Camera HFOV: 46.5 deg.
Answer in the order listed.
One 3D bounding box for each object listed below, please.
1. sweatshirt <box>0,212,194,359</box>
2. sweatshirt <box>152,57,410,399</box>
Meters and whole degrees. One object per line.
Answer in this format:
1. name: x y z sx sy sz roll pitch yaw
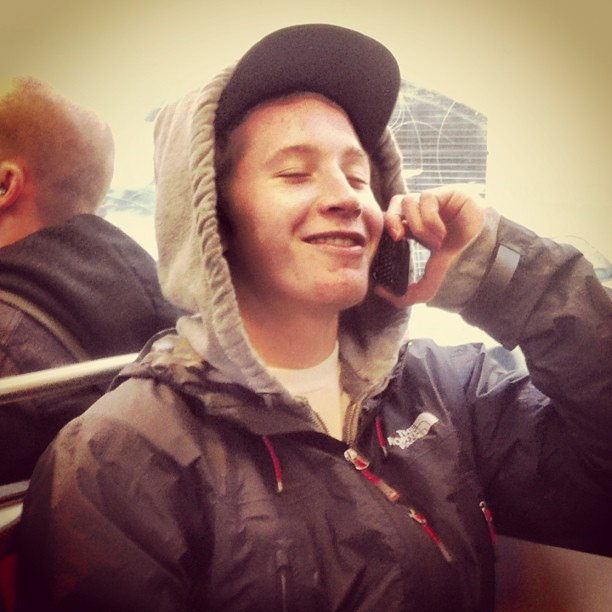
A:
1. sweatshirt: -0.497 -0.049 1.662 0.326 0.403 0.108 -35 -4 -29
2. sweatshirt: -0.005 -0.110 1.678 0.502 0.768 0.698 -1 -8 -19
